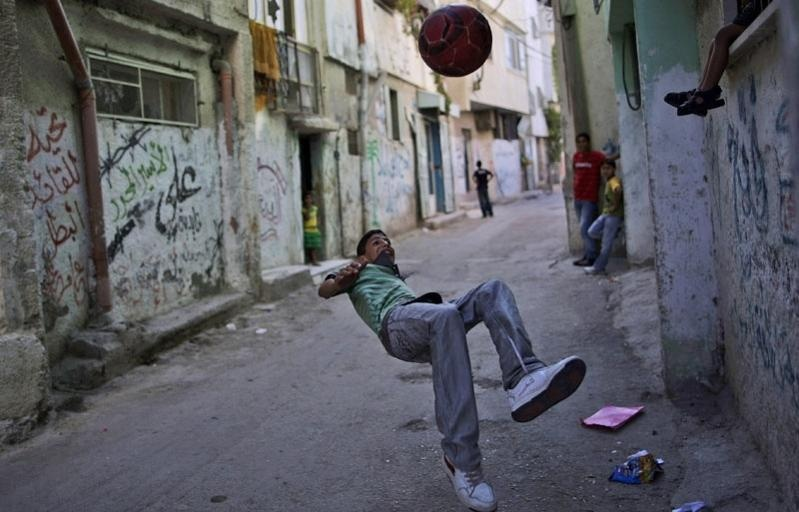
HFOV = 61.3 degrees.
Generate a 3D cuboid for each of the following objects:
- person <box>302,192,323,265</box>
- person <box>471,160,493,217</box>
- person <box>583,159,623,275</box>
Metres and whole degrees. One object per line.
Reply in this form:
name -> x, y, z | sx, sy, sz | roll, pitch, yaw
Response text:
person -> -1.830, -0.584, 14.015 | 0.365, 1.564, 1.388 | -6, 14, -6
person -> 2.594, -2.128, 20.724 | 0.551, 1.625, 1.858 | -3, 14, 8
person -> 3.316, -0.648, 10.834 | 0.552, 1.786, 0.811 | 0, 14, 18
